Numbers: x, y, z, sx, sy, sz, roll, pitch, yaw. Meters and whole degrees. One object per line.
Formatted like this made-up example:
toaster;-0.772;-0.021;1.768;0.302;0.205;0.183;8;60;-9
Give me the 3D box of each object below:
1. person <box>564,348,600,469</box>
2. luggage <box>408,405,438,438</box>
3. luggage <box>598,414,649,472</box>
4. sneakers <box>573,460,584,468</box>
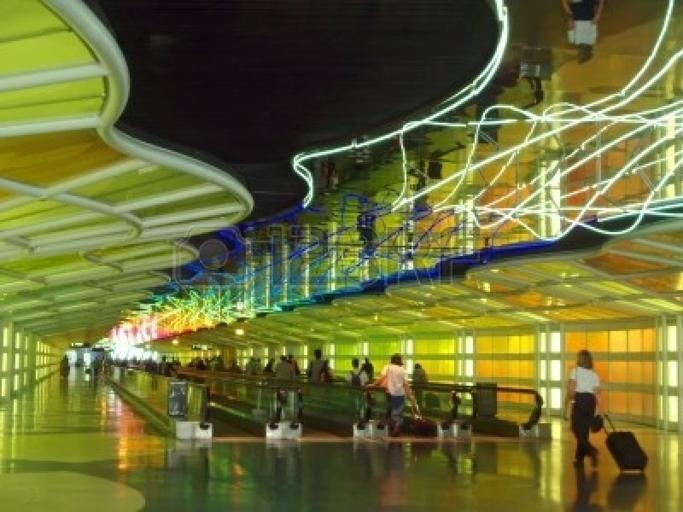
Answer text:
person;4.718;2.917;15.305;0.788;2.182;0.650;2;-5;12
luggage;2.046;4.428;20.383;0.776;0.588;0.512;1;-4;-9
luggage;5.313;3.644;14.634;0.701;0.734;0.497;-3;-14;15
sneakers;4.546;3.988;15.005;0.169;0.138;0.083;2;-12;-9
